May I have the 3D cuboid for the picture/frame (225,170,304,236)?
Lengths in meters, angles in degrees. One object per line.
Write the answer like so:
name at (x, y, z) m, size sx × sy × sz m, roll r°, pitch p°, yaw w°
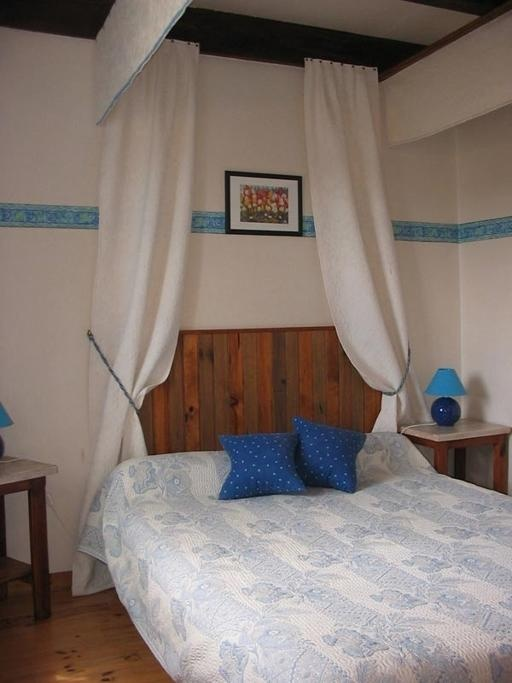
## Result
picture/frame at (0.025, -0.770, 3.142) m, size 0.376 × 0.293 × 0.014 m, roll -2°, pitch 4°, yaw -22°

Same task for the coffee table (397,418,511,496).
coffee table at (1.172, 0.603, 3.407) m, size 0.548 × 0.571 × 0.445 m, roll -4°, pitch 5°, yaw -31°
